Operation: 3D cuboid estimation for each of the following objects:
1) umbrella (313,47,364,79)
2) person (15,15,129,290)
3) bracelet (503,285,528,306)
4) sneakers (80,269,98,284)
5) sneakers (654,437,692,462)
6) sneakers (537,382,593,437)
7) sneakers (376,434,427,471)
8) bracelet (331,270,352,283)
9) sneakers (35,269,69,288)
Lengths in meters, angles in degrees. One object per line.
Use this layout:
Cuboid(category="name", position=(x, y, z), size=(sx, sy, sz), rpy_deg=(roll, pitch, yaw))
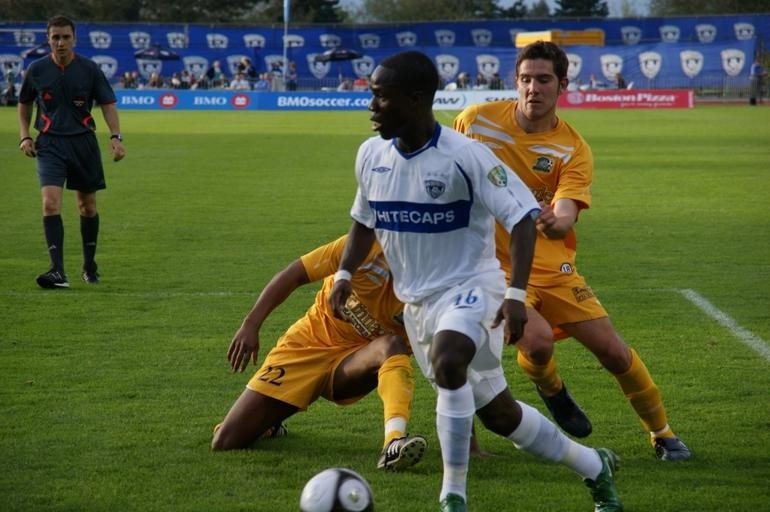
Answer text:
Cuboid(category="umbrella", position=(-1.861, -8.395, 40.553), size=(1.826, 0.613, 1.250), rpy_deg=(-2, 5, -15))
Cuboid(category="person", position=(-3.349, -1.120, 10.089), size=(1.024, 2.817, 0.771), rpy_deg=(-5, 12, -21))
Cuboid(category="bracelet", position=(0.881, 0.262, 6.277), size=(0.121, 0.074, 0.118), rpy_deg=(12, 1, -2))
Cuboid(category="sneakers", position=(-3.204, 0.220, 10.219), size=(0.174, 0.160, 0.120), rpy_deg=(9, -13, -10))
Cuboid(category="sneakers", position=(2.119, 1.421, 6.948), size=(0.255, 0.137, 0.112), rpy_deg=(-1, -6, 0))
Cuboid(category="sneakers", position=(1.405, 1.209, 7.267), size=(0.554, 0.204, 0.209), rpy_deg=(52, 2, 29))
Cuboid(category="sneakers", position=(0.128, 1.403, 6.790), size=(0.194, 0.202, 0.429), rpy_deg=(-22, -13, -48))
Cuboid(category="bracelet", position=(-0.305, 0.147, 6.722), size=(0.092, 0.068, 0.091), rpy_deg=(1, -5, -7))
Cuboid(category="sneakers", position=(-3.523, 0.238, 9.966), size=(0.312, 0.194, 0.191), rpy_deg=(-5, 12, -21))
